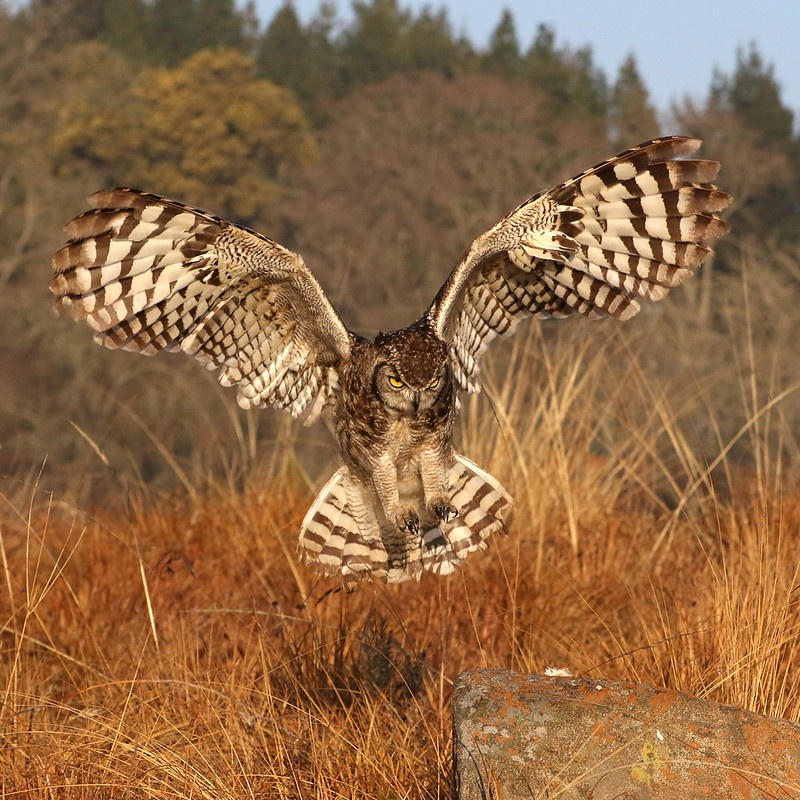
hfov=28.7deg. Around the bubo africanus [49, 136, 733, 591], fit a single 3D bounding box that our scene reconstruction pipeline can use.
[{"bbox_3d":[-0.057,-0.112,9.718,4.149,2.376,1.139,-3,6,-9],"label":"bubo africanus"}]
